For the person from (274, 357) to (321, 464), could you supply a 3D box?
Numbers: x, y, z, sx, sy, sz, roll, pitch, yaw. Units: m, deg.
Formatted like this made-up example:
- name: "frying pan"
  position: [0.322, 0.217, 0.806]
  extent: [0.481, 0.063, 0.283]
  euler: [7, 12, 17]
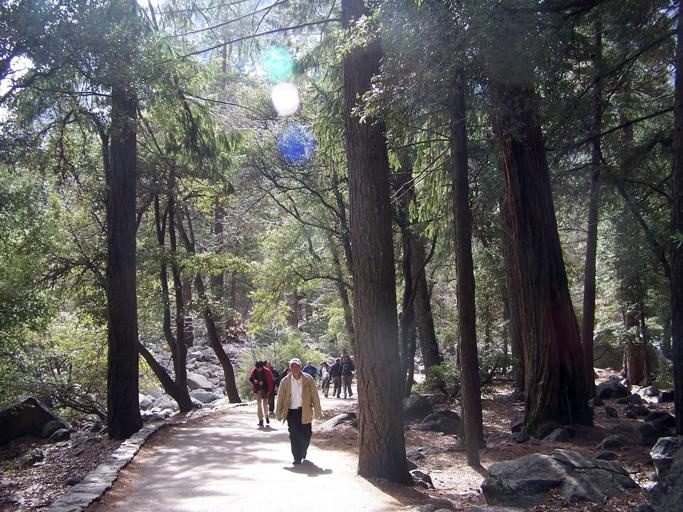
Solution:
- name: "person"
  position: [-0.974, 3.515, 13.239]
  extent: [0.968, 2.345, 0.856]
  euler: [2, -1, -5]
